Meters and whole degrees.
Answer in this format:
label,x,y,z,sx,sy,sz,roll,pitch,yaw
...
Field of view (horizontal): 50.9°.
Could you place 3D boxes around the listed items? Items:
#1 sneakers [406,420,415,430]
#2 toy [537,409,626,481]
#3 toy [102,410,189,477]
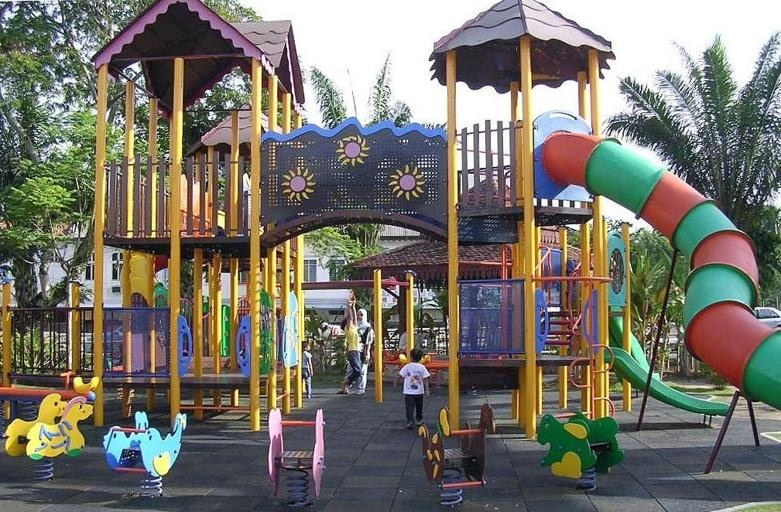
label,x,y,z,sx,sy,sz,roll,pitch,yaw
sneakers,0.433,3.666,17.782,0.102,0.138,0.317,-1,-21,4
toy,3.164,3.263,14.293,1.425,1.235,0.990,-2,-3,29
toy,-4.158,3.254,14.314,1.165,1.206,1.216,-1,-2,29
